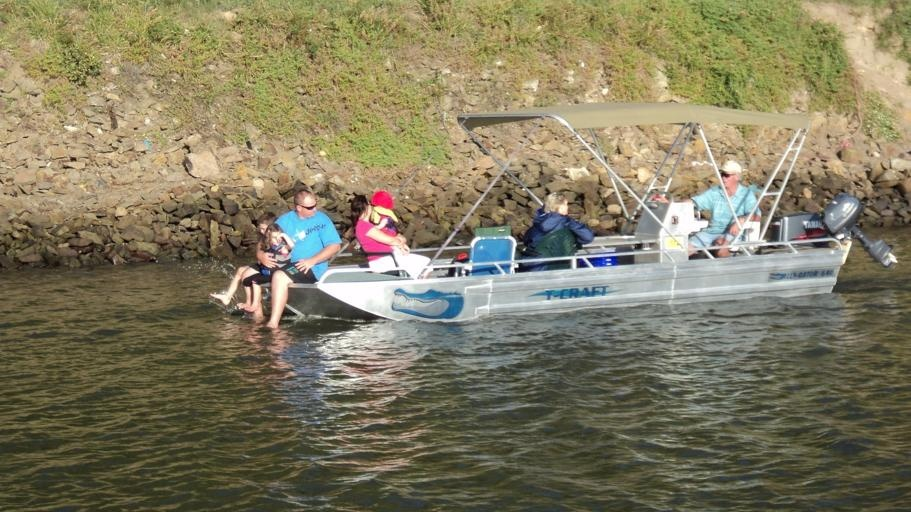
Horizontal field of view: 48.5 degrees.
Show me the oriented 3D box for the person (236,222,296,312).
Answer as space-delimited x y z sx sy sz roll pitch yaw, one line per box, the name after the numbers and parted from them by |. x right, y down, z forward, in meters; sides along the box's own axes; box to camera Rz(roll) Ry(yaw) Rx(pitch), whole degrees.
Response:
-4.026 0.321 21.847 1.288 2.106 0.548 2 7 44 | person

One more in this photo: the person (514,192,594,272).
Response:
2.175 -0.672 21.960 1.500 1.386 0.535 -2 5 2 | person
